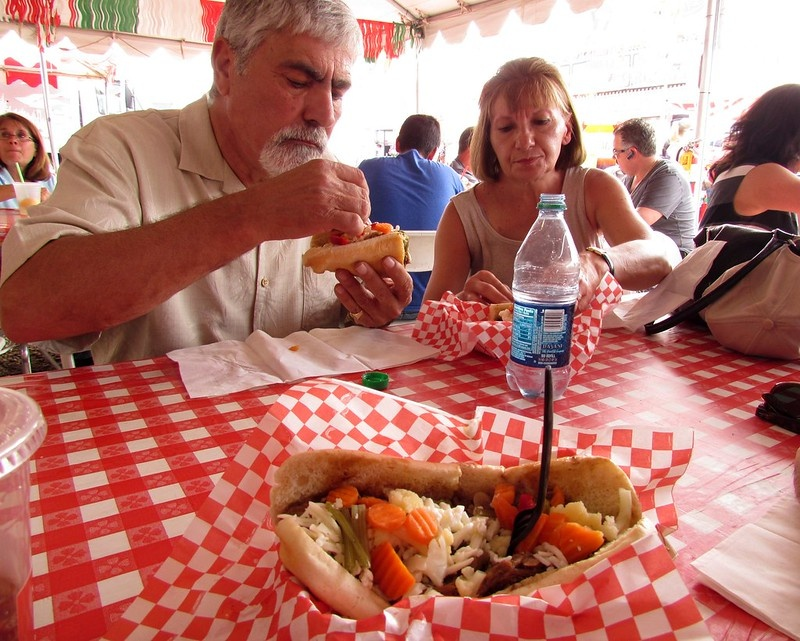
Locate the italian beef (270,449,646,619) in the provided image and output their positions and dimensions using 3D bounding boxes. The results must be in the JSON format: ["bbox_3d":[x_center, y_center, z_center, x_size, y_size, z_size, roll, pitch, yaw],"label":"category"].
[{"bbox_3d":[0.111,0.456,1.214,0.644,0.202,0.353,2,21,3],"label":"italian beef"}]

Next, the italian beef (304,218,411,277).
[{"bbox_3d":[-0.210,-0.330,2.570,0.354,0.152,0.291,-3,14,31],"label":"italian beef"}]

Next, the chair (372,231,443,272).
[{"bbox_3d":[0.056,-0.413,3.172,0.368,0.199,0.518,-2,12,-7],"label":"chair"}]
